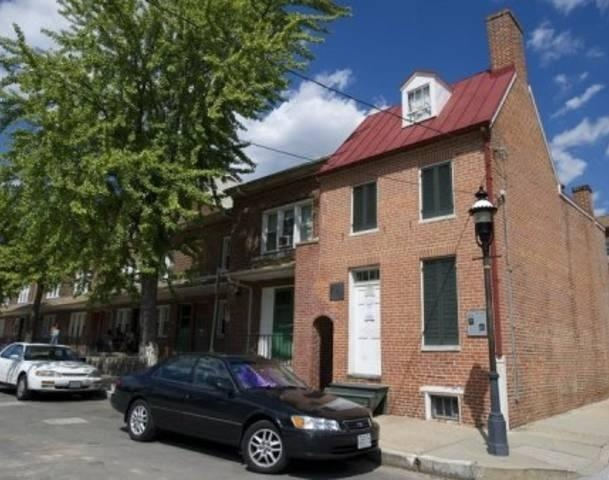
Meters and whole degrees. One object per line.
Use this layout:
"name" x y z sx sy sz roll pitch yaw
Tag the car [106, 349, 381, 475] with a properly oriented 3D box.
"car" -1.576 3.245 9.119 5.238 1.731 2.127 -10 -20 37
